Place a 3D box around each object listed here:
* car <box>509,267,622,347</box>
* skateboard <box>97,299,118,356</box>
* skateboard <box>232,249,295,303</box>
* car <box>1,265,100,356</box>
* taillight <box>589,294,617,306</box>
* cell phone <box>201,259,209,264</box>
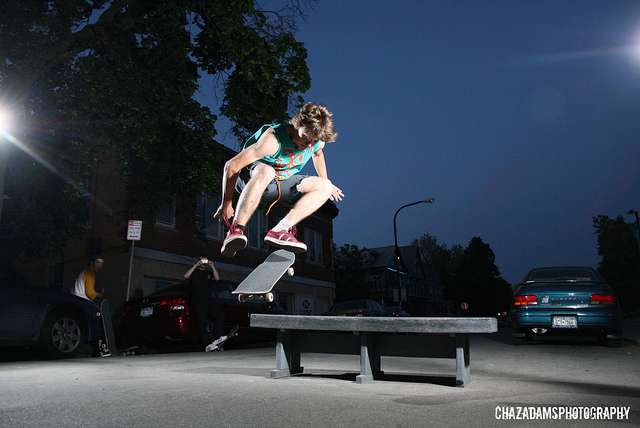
[{"bbox_3d":[6.017,2.231,10.809,2.420,1.948,1.286,-5,-18,14],"label":"car"},{"bbox_3d":[-5.065,2.701,10.292,0.269,1.654,0.425,-15,-13,17],"label":"skateboard"},{"bbox_3d":[-0.685,0.852,5.662,0.414,0.218,1.205,0,22,18],"label":"skateboard"},{"bbox_3d":[-5.669,2.071,8.809,2.346,1.139,1.190,13,-19,-43],"label":"car"},{"bbox_3d":[6.623,2.003,10.172,0.650,0.271,0.121,1,-17,-6],"label":"taillight"},{"bbox_3d":[-2.508,1.034,9.510,0.154,0.089,0.108,0,-12,19],"label":"cell phone"}]
